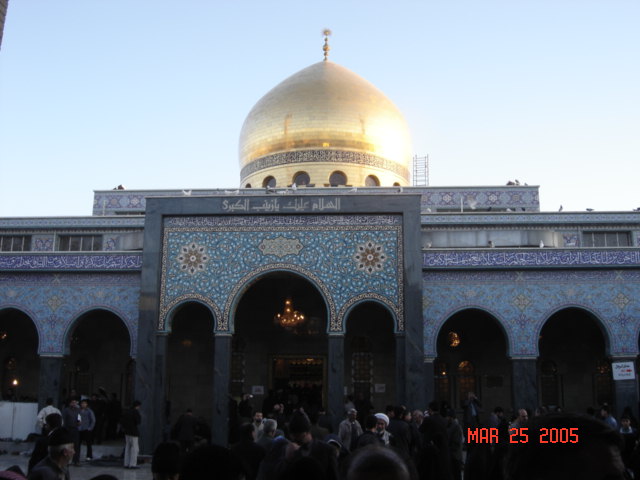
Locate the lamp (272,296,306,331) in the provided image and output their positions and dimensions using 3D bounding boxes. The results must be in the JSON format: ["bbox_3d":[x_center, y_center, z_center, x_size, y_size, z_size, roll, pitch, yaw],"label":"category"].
[{"bbox_3d":[-0.817,1.887,20.295,0.856,1.090,0.850,2,-23,-8],"label":"lamp"}]
